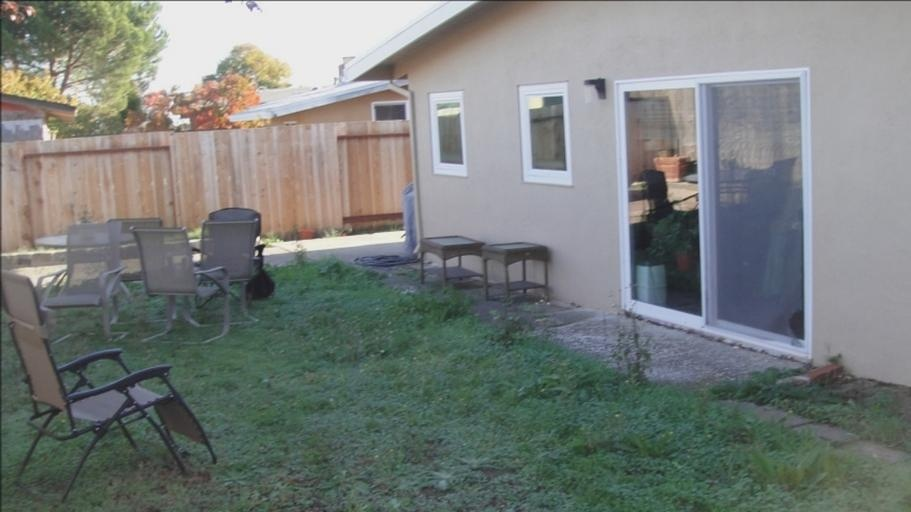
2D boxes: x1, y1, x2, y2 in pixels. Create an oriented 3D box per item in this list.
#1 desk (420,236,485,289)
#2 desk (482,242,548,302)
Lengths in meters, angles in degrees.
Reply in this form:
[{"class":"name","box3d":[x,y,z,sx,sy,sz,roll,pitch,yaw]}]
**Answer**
[{"class":"desk","box3d":[-0.075,0.101,10.156,0.866,0.645,1.210,-4,7,-18]},{"class":"desk","box3d":[0.827,0.227,9.207,0.920,0.827,1.053,-8,12,-30]}]
